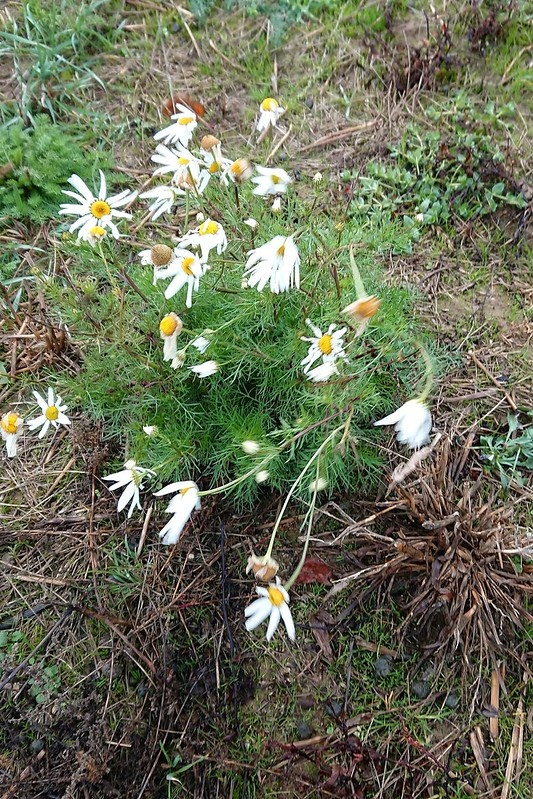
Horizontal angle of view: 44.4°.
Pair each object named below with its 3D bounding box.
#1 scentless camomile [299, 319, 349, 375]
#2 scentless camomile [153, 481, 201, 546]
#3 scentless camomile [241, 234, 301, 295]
[{"bbox_3d":[0.189,-0.144,1.949,0.163,0.164,0.055,36,33,23],"label":"scentless camomile"},{"bbox_3d":[-0.251,0.313,1.860,0.180,0.091,0.218,6,76,-11],"label":"scentless camomile"},{"bbox_3d":[0.016,-0.357,1.856,0.168,0.188,0.079,22,41,7],"label":"scentless camomile"}]
